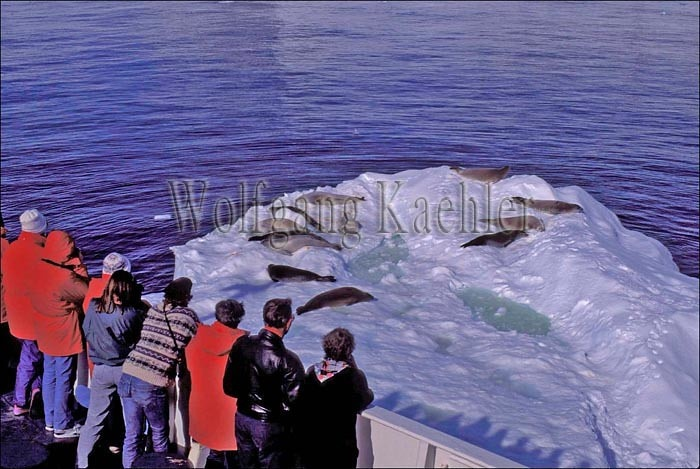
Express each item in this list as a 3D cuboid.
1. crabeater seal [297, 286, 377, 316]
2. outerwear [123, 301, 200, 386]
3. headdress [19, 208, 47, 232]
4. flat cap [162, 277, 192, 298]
[{"bbox_3d":[-0.456,1.809,18.103,2.663,0.456,0.619,-2,11,-15],"label":"crabeater seal"},{"bbox_3d":[-3.399,1.993,11.941,0.699,1.484,1.146,20,31,37],"label":"outerwear"},{"bbox_3d":[-6.122,-0.259,12.796,0.426,0.459,0.386,-10,24,-21],"label":"headdress"},{"bbox_3d":[-3.106,0.988,11.981,0.495,0.405,0.343,-5,23,-11],"label":"flat cap"}]
